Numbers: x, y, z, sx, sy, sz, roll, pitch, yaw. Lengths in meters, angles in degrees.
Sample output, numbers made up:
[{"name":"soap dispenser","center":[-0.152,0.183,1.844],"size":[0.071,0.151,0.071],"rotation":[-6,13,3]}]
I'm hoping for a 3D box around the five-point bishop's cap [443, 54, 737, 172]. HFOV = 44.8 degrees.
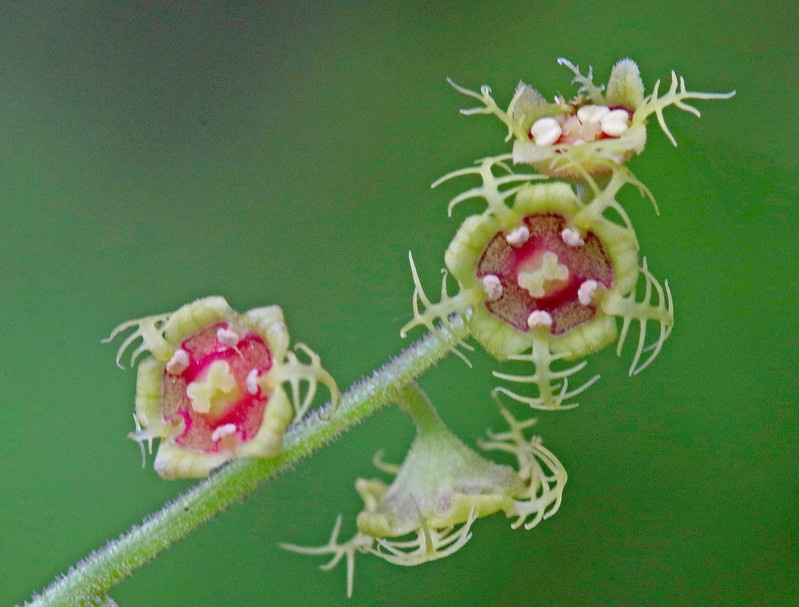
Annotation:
[{"name":"five-point bishop's cap","center":[0.591,-0.596,3.192],"size":[0.548,0.247,0.716],"rotation":[3,29,30]}]
